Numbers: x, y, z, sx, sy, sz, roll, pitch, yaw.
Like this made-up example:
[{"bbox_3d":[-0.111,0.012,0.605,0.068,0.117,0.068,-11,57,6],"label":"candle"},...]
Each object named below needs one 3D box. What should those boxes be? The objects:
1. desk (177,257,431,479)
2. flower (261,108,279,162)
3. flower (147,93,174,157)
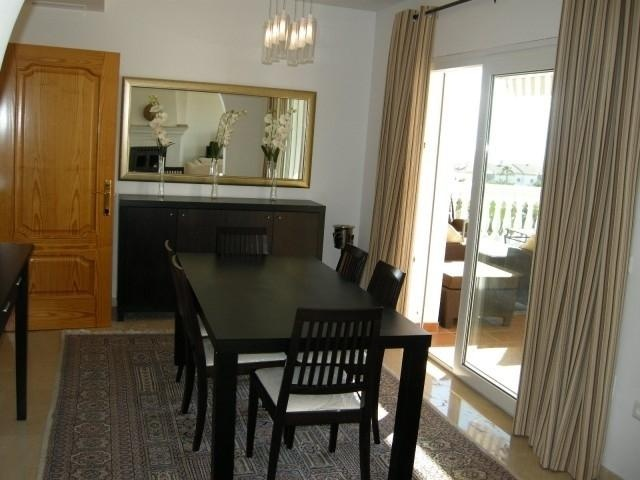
[{"bbox_3d":[-0.237,0.718,3.362,1.213,1.098,1.788,-1,13,-22],"label":"desk"},{"bbox_3d":[-0.558,-1.119,5.656,0.132,0.508,0.160,12,16,40],"label":"flower"},{"bbox_3d":[-1.696,-1.130,5.249,0.168,0.573,0.169,0,23,-18],"label":"flower"}]
